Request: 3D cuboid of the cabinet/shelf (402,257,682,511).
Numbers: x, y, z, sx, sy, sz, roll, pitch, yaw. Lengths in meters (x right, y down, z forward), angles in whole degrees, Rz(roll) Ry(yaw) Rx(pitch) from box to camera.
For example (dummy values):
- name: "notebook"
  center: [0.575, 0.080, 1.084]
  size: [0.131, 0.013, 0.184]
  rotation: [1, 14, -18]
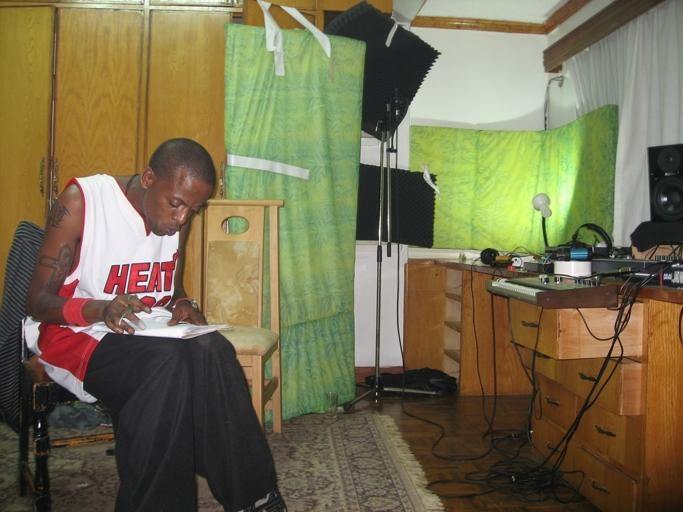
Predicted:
- name: "cabinet/shelf"
  center: [1.030, 0.481, 4.107]
  size: [1.013, 1.169, 2.504]
  rotation: [0, 13, -5]

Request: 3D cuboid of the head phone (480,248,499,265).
- name: "head phone"
  center: [1.036, 0.025, 4.463]
  size: [0.106, 0.110, 0.112]
  rotation: [-4, 34, -6]
